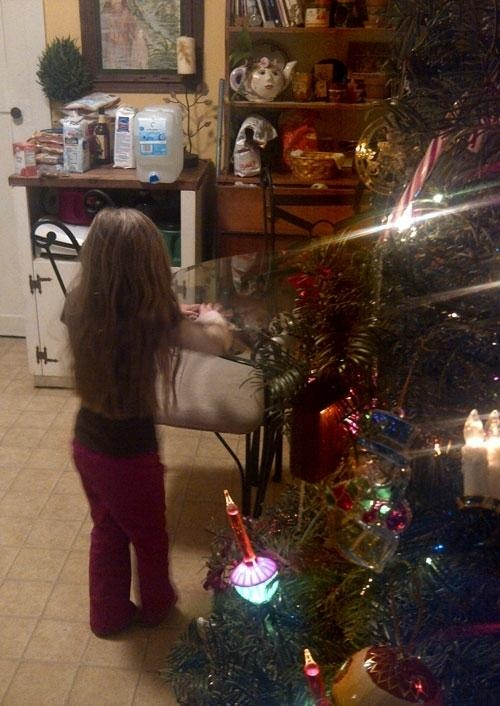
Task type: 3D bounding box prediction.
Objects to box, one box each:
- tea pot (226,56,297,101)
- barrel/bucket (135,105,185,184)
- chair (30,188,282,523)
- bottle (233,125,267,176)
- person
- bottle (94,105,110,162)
[{"bbox_3d":[0.059,-1.331,3.087,0.331,0.158,0.201,-12,28,-19],"label":"tea pot"},{"bbox_3d":[-0.427,-0.980,2.948,0.216,0.323,0.346,3,29,2],"label":"barrel/bucket"},{"bbox_3d":[-0.194,0.172,1.977,0.712,0.982,0.598,-3,-2,7],"label":"chair"},{"bbox_3d":[0.008,-1.014,3.221,0.152,0.274,0.208,-1,0,28],"label":"bottle"},{"bbox_3d":[-0.246,0.219,1.548,0.428,1.127,0.235,-3,18,-1],"label":"person"},{"bbox_3d":[-0.734,-1.064,3.101,0.071,0.242,0.117,-7,18,-13],"label":"bottle"}]
